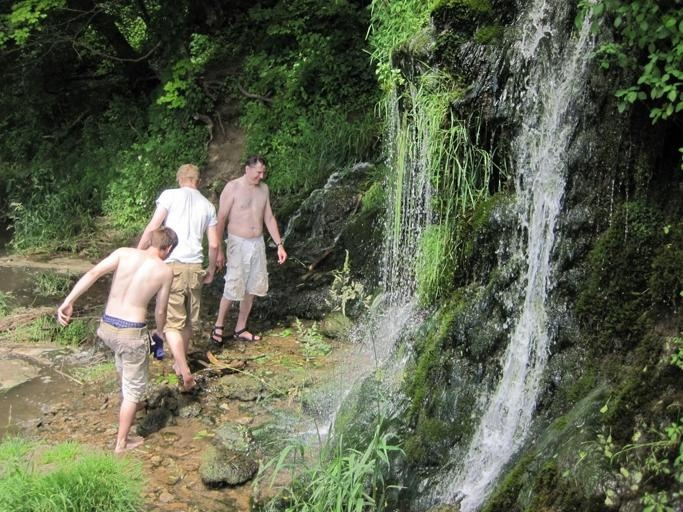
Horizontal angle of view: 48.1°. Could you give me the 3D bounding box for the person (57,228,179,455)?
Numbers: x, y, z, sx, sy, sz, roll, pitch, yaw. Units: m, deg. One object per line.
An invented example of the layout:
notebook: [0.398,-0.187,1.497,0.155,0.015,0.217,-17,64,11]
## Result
person: [-2.390,0.854,8.518,0.721,2.583,1.277,23,26,32]

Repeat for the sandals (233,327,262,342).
sandals: [-1.300,1.054,10.627,0.325,0.175,0.172,3,6,26]
